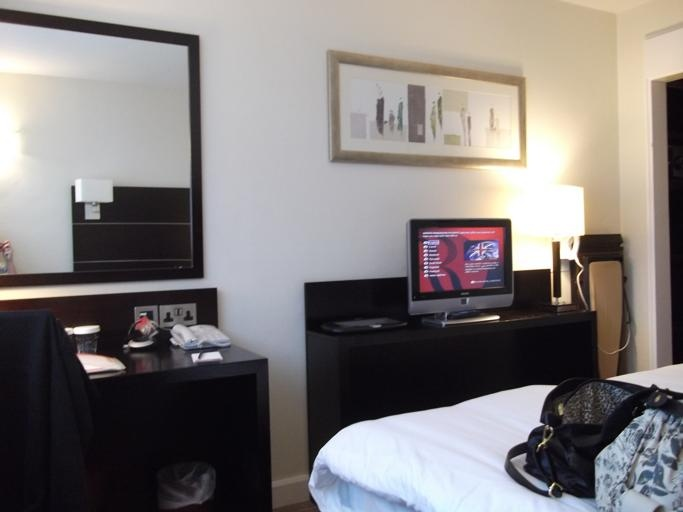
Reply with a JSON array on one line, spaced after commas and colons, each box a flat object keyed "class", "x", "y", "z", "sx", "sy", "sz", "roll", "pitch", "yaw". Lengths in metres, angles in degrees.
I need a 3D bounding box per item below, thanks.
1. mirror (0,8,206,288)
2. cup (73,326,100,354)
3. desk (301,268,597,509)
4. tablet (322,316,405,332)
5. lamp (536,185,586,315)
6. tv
[{"class": "mirror", "x": -1.190, "y": -0.519, "z": 2.534, "sx": 1.298, "sy": 1.398, "sz": 0.030, "roll": 2, "pitch": -4, "yaw": -32}, {"class": "cup", "x": -1.096, "y": 0.351, "z": 2.283, "sx": 0.112, "sy": 0.134, "sz": 0.116, "roll": -2, "pitch": -2, "yaw": 0}, {"class": "desk", "x": 0.392, "y": 0.559, "z": 2.343, "sx": 1.156, "sy": 0.763, "sz": 0.319, "roll": 0, "pitch": -5, "yaw": -25}, {"class": "tablet", "x": 0.123, "y": 0.363, "z": 2.739, "sx": 0.427, "sy": 0.056, "sz": 0.193, "roll": -6, "pitch": 4, "yaw": -26}, {"class": "lamp", "x": 1.527, "y": -0.033, "z": 3.537, "sx": 0.273, "sy": 0.901, "sz": 0.291, "roll": 7, "pitch": 9, "yaw": -4}, {"class": "tv", "x": 0.683, "y": 0.082, "z": 3.020, "sx": 0.644, "sy": 0.596, "sz": 0.212, "roll": -3, "pitch": 7, "yaw": -20}]
